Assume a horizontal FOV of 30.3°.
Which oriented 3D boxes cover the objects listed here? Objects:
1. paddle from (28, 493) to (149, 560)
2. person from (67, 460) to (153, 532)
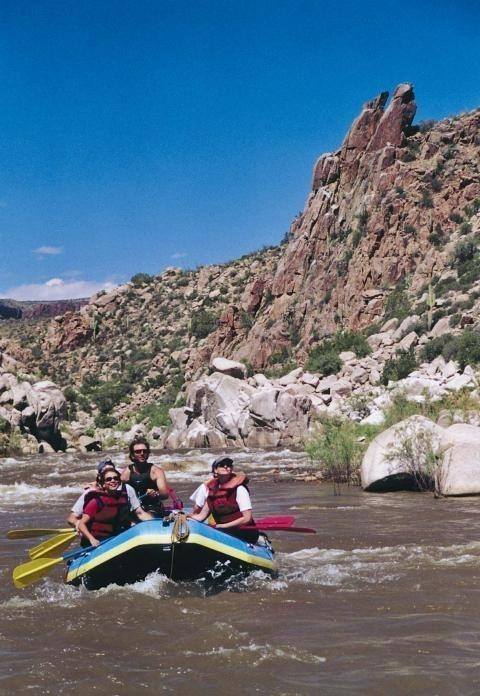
[{"bbox_3d":[-1.353,1.717,8.150,1.402,0.507,0.124,-13,-16,-1],"label":"paddle"},{"bbox_3d":[-1.174,1.565,7.997,0.573,0.985,0.540,-6,27,-16],"label":"person"}]
